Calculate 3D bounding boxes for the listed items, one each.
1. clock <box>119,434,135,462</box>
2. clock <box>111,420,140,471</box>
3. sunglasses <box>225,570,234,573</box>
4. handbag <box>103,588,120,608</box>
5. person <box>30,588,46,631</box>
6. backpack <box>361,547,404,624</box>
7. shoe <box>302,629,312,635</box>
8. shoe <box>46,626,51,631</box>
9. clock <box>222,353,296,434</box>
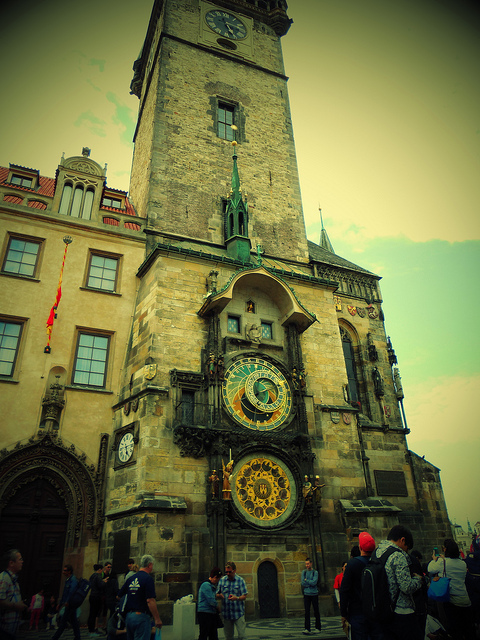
[{"bbox_3d":[-3.252,3.758,14.390,0.060,0.691,0.703,16,-36,-27],"label":"clock"},{"bbox_3d":[-3.353,3.715,14.505,0.201,1.157,1.348,22,-36,-39],"label":"clock"},{"bbox_3d":[-0.172,4.400,8.637,0.140,0.036,0.143,-7,-25,6],"label":"sunglasses"},{"bbox_3d":[-2.764,6.039,10.753,0.271,0.338,0.549,4,-26,-16],"label":"handbag"},{"bbox_3d":[-5.196,7.460,12.763,0.381,0.799,0.760,5,-27,-18],"label":"person"},{"bbox_3d":[1.414,2.637,4.913,0.360,0.623,0.327,9,-33,-7],"label":"backpack"},{"bbox_3d":[1.396,6.455,10.202,0.077,0.100,0.226,-18,-43,23],"label":"shoe"},{"bbox_3d":[-4.678,7.545,12.104,0.072,0.042,0.499,6,-26,-20],"label":"shoe"},{"bbox_3d":[0.557,2.459,15.898,2.460,2.304,0.172,17,-43,-26],"label":"clock"}]
